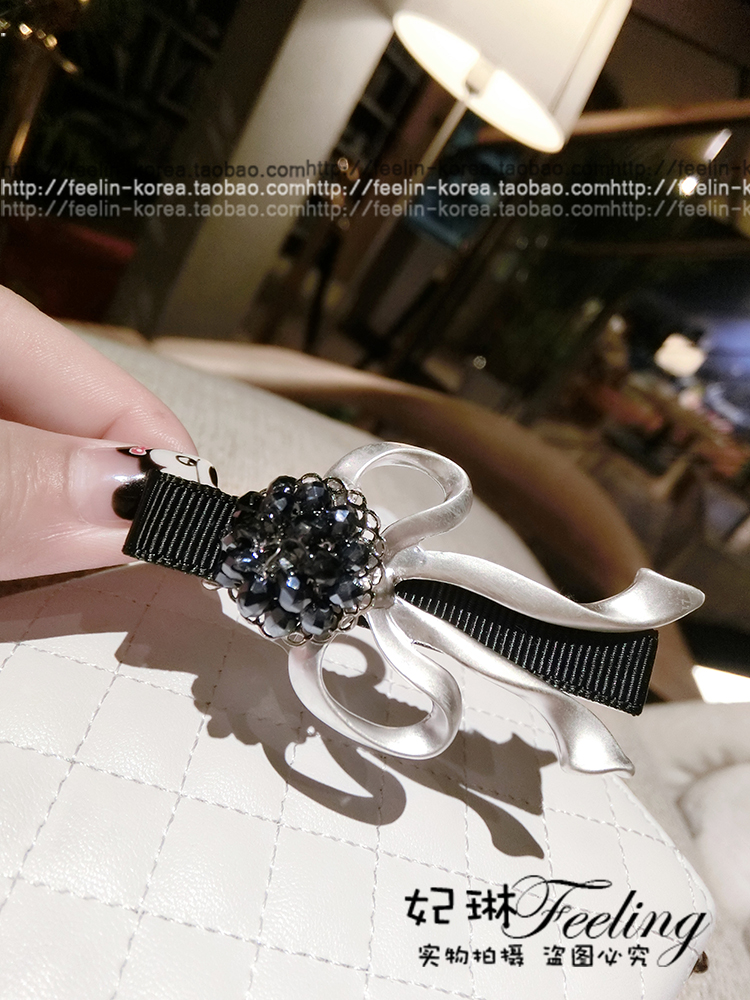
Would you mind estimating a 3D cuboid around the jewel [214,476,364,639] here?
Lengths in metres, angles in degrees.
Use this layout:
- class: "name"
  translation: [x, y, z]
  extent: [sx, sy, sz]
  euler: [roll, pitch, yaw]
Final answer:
- class: "jewel"
  translation: [-0.054, 0.044, 0.681]
  extent: [0.109, 0.084, 0.085]
  euler: [40, 20, 27]
